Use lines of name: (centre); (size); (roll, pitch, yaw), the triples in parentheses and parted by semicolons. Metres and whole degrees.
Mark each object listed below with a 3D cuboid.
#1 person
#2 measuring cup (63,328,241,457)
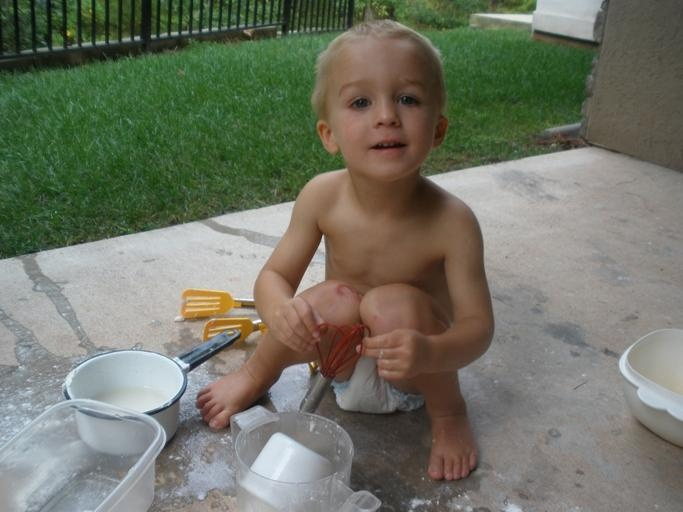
person: (0.063, 0.006, 1.772); (0.684, 1.389, 0.792); (8, 16, 15)
measuring cup: (-0.546, 0.354, 1.591); (0.193, 0.122, 0.343); (33, 34, 30)
